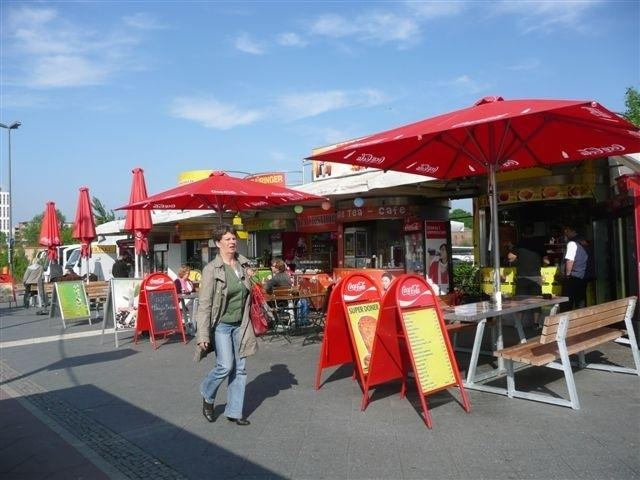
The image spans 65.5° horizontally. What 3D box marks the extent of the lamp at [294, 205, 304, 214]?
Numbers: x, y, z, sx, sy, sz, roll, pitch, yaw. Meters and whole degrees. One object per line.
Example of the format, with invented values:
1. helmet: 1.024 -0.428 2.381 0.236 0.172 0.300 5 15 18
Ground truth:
1. lamp: -0.758 -1.031 17.760 0.400 0.236 0.383 -7 11 -43

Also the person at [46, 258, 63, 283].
1. person: -11.126 1.306 20.836 0.515 0.905 1.725 -3 1 -28

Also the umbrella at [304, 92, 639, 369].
1. umbrella: 2.506 -0.409 7.480 3.976 2.436 3.541 0 0 -27

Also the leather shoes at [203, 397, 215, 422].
1. leather shoes: -1.357 2.063 6.094 0.113 0.128 0.315 18 12 -40

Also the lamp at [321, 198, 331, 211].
1. lamp: 0.140 -1.182 16.757 0.381 0.404 0.373 -1 -3 16

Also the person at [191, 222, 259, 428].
1. person: -1.158 1.012 6.062 0.710 1.747 0.520 -3 2 -7
